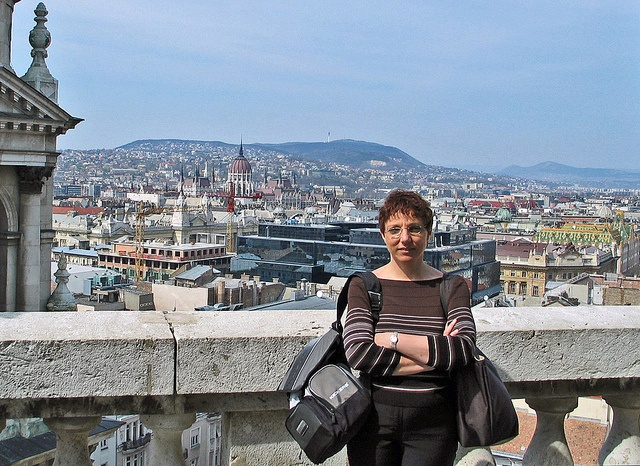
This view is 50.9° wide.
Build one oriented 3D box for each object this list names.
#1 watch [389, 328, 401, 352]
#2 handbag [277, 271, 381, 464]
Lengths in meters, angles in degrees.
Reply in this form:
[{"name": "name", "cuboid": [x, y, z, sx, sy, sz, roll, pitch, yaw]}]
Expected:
[{"name": "watch", "cuboid": [0.307, 0.449, 2.814, 0.035, 0.060, 0.058, -1, 38, 3]}, {"name": "handbag", "cuboid": [0.062, 0.549, 2.860, 0.364, 0.737, 0.458, -1, 3, 41]}]
